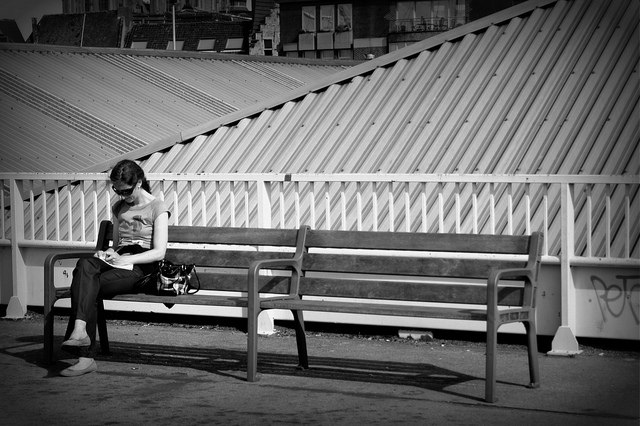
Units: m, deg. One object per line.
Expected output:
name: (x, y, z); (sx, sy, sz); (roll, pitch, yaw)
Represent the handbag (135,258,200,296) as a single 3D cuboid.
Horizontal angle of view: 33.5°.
handbag: (-1.807, 0.784, 12.735); (0.654, 0.292, 0.408); (0, 11, 4)
